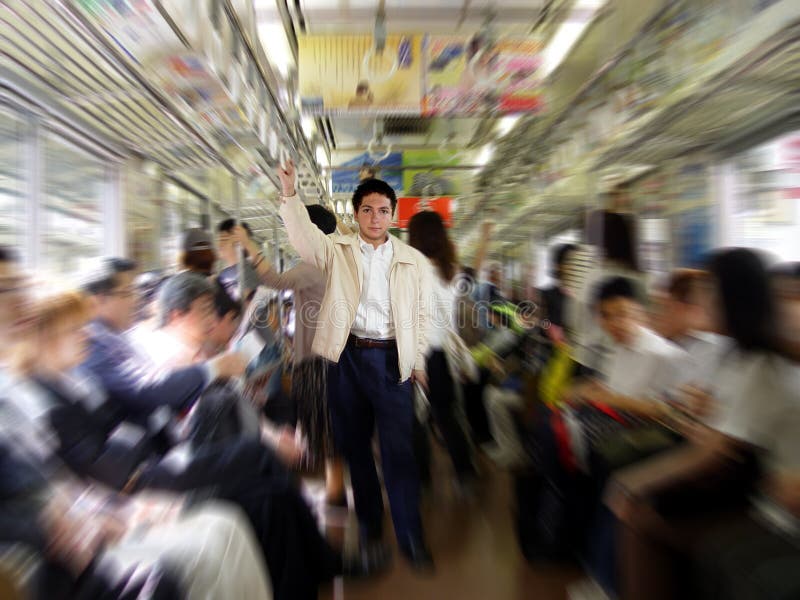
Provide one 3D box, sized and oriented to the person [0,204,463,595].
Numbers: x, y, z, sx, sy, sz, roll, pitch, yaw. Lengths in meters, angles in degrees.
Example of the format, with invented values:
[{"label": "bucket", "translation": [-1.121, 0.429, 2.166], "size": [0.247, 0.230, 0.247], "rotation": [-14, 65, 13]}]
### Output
[{"label": "person", "translation": [-0.505, 0.473, 1.654], "size": [1.347, 1.278, 0.430], "rotation": [-3, 5, -34]}]
